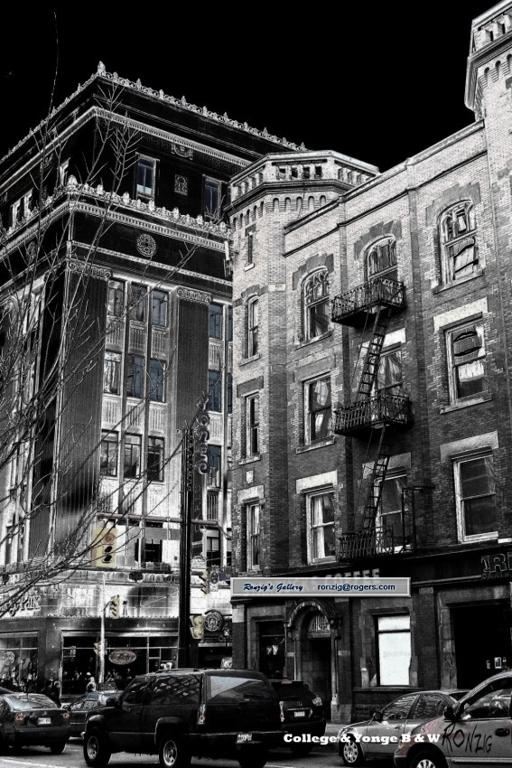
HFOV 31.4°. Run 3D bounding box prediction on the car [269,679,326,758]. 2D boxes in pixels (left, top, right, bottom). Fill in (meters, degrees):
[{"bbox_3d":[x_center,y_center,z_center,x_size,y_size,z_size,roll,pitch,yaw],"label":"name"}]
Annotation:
[{"bbox_3d":[0.978,7.113,19.433,0.992,1.109,1.890,6,-21,-29],"label":"car"}]
